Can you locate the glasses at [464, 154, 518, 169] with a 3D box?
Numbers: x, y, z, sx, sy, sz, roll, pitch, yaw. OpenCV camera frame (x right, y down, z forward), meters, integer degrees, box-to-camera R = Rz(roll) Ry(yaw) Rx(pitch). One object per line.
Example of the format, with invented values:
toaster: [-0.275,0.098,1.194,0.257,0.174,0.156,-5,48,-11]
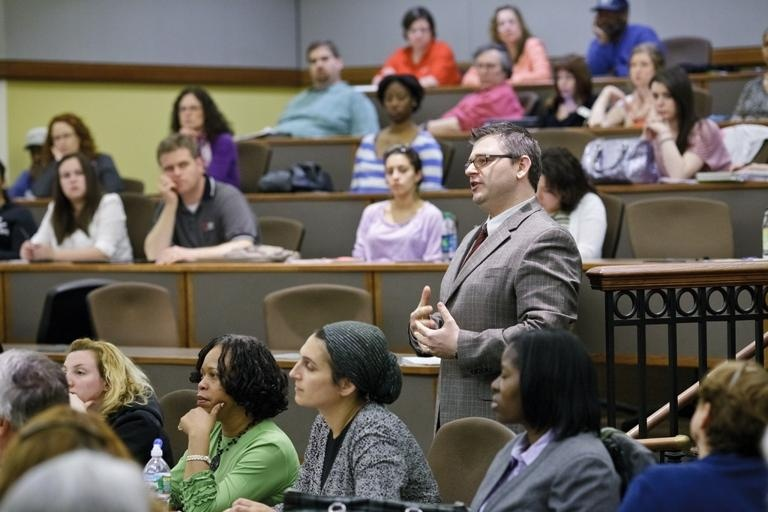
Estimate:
glasses: [0.367,-0.339,3.040,0.090,0.025,0.091,3,-10,-16]

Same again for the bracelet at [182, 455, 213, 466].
bracelet: [-0.646,0.704,2.952,0.074,0.034,0.043,-1,1,-11]

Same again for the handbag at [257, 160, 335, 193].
handbag: [-0.616,-0.530,5.981,0.492,0.211,0.223,-4,-10,-14]
